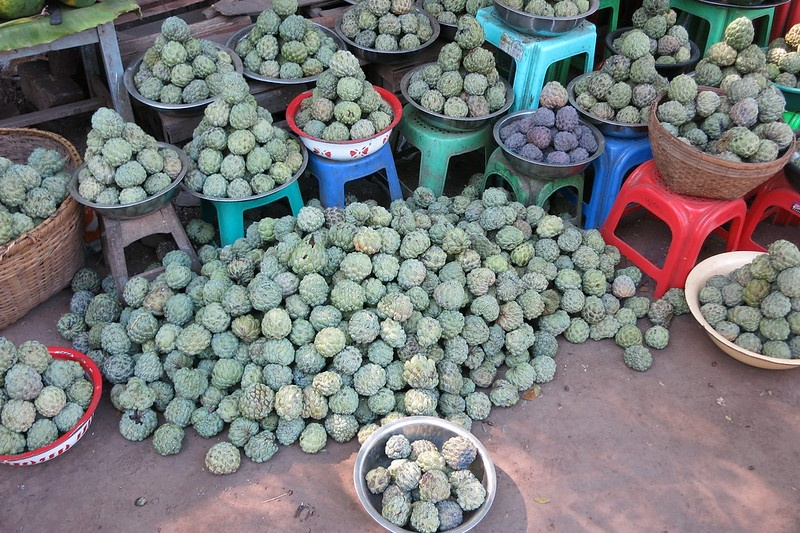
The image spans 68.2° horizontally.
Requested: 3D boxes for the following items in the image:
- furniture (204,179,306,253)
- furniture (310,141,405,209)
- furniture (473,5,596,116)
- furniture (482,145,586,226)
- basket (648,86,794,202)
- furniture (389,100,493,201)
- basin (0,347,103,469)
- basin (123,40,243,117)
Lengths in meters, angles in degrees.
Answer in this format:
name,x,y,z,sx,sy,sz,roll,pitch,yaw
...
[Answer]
name,x,y,z,sx,sy,sz,roll,pitch,yaw
furniture,-1.222,-0.469,4.922,0.595,0.501,0.600,-25,55,-18
furniture,-0.391,-0.793,5.176,0.611,0.513,0.631,-14,55,-8
furniture,1.131,-1.764,5.015,0.702,0.690,0.701,-31,60,-18
furniture,1.152,-0.697,5.268,0.702,0.660,0.722,-18,53,-10
basket,2.254,-1.054,4.393,0.753,0.408,0.787,-1,58,1
furniture,0.360,-1.057,5.466,0.824,0.669,0.824,-27,51,-22
basin,-2.191,0.976,3.926,0.706,0.293,0.742,4,48,-5
basin,-1.836,-1.439,4.789,0.770,0.186,0.800,3,56,-5
